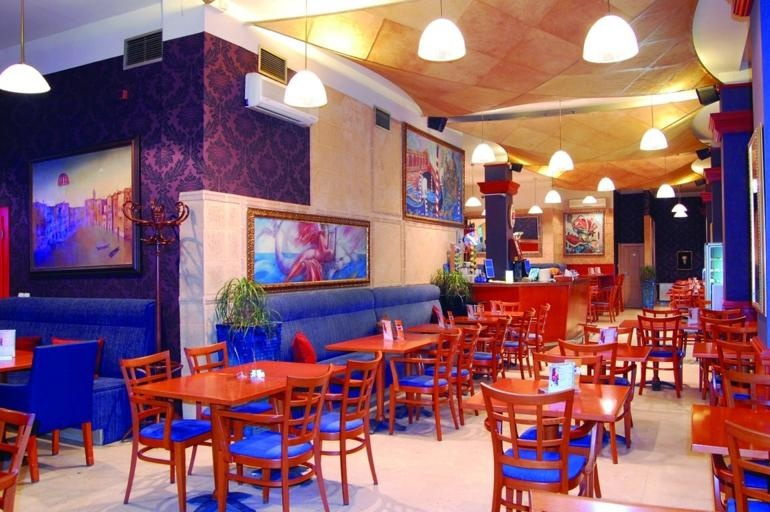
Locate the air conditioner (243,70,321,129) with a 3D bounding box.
[{"bbox_3d":[-1.489,-2.191,8.514,0.298,0.481,1.155,5,2,30],"label":"air conditioner"}]

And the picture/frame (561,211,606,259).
[{"bbox_3d":[6.805,-0.723,20.276,1.557,1.820,0.126,3,5,33],"label":"picture/frame"}]

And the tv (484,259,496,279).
[{"bbox_3d":[2.285,0.300,13.030,0.046,0.413,0.425,-7,-9,32],"label":"tv"}]

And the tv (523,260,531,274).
[{"bbox_3d":[3.281,0.285,13.851,0.123,0.351,0.354,-4,-2,24],"label":"tv"}]
